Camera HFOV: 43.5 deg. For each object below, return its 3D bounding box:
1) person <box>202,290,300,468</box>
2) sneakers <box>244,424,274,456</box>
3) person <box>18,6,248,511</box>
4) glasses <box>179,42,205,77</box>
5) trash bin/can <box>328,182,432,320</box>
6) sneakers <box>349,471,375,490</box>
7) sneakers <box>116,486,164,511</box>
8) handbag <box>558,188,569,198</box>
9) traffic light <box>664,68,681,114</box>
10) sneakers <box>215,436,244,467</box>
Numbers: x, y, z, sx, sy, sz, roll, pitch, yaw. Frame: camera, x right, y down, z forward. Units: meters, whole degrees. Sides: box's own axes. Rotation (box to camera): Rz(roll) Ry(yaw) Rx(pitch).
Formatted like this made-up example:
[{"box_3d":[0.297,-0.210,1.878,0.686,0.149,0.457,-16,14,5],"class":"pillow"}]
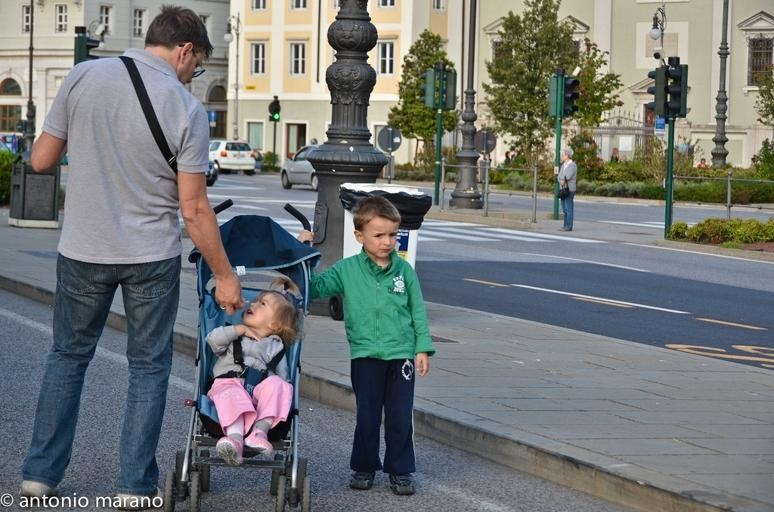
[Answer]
[{"box_3d":[-0.909,0.720,6.370,0.551,0.945,1.408,3,6,-5],"class":"person"},{"box_3d":[-0.803,1.146,6.202,0.111,0.153,0.332,15,1,-4],"class":"sneakers"},{"box_3d":[-1.687,0.001,6.263,1.293,3.208,0.723,1,9,-12],"class":"person"},{"box_3d":[-1.285,-1.262,6.343,0.193,0.056,0.184,44,-4,-2],"class":"glasses"},{"box_3d":[0.033,-0.251,10.461,0.862,1.450,1.000,1,1,-4],"class":"trash bin/can"},{"box_3d":[-0.175,1.571,6.784,0.087,0.084,0.187,4,9,9],"class":"sneakers"},{"box_3d":[-1.579,1.549,6.217,0.299,0.138,0.134,-4,6,-27],"class":"sneakers"},{"box_3d":[4.598,-1.646,25.129,0.259,0.380,0.113,1,-5,26],"class":"handbag"},{"box_3d":[6.708,-3.819,22.445,0.461,1.161,0.418,6,9,20],"class":"traffic light"},{"box_3d":[-0.973,1.201,6.040,0.097,0.236,0.111,-7,47,9],"class":"sneakers"}]
